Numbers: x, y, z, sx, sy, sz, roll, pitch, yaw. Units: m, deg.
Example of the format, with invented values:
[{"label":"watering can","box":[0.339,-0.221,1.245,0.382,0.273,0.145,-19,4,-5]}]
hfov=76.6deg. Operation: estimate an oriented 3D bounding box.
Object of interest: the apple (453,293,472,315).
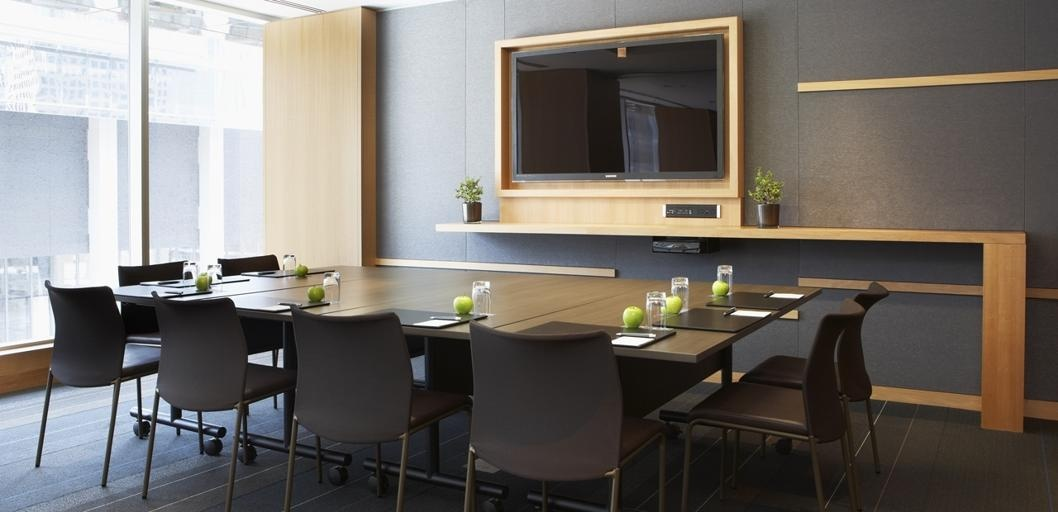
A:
[{"label":"apple","box":[-0.594,0.427,5.742,0.193,0.174,0.167,1,-4,-8]}]

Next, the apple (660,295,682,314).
[{"label":"apple","box":[1.203,0.400,5.706,0.181,0.138,0.171,-7,11,-32]}]

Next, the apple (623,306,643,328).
[{"label":"apple","box":[0.819,0.493,5.384,0.184,0.150,0.178,-4,3,-39]}]

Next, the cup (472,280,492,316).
[{"label":"cup","box":[-0.407,0.362,5.749,0.159,0.262,0.284,-6,7,-8]}]

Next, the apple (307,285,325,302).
[{"label":"apple","box":[-1.887,0.343,6.034,0.162,0.129,0.155,-4,2,-41]}]

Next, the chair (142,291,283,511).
[{"label":"chair","box":[-2.610,0.903,5.667,1.013,1.184,0.485,-7,8,-20]}]

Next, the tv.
[{"label":"tv","box":[1.044,-1.705,8.004,2.487,1.665,0.180,-2,9,18]}]

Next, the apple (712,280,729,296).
[{"label":"apple","box":[1.765,0.298,6.199,0.159,0.120,0.144,-8,13,-27]}]

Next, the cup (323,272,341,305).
[{"label":"cup","box":[-1.775,0.283,6.037,0.143,0.256,0.231,-8,8,-18]}]

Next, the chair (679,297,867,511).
[{"label":"chair","box":[2.059,1.047,6.387,2.140,2.200,1.564,2,3,26]}]

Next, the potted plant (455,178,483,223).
[{"label":"potted plant","box":[-0.726,-0.728,8.544,0.388,0.482,0.393,-2,9,-42]}]

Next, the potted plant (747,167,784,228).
[{"label":"potted plant","box":[2.676,-0.660,7.491,0.380,0.659,0.438,-3,7,12]}]
